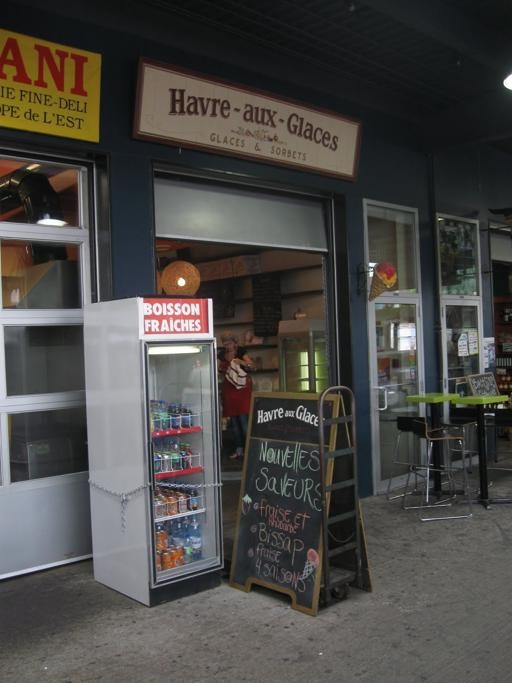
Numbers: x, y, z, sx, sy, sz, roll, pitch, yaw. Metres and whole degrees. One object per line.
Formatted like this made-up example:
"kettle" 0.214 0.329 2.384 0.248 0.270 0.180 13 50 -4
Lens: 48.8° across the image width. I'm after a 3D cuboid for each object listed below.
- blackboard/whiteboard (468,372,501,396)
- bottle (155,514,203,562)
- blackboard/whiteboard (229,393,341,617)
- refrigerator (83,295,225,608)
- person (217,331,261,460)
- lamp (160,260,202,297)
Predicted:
"blackboard/whiteboard" 2.559 0.479 6.371 0.041 0.324 0.490 -31 -19 36
"bottle" -0.484 1.205 3.442 0.200 0.329 0.355 -13 -11 42
"blackboard/whiteboard" 0.142 0.901 3.352 0.223 1.176 0.746 3 -7 -42
"refrigerator" -0.662 0.643 3.599 0.649 1.779 0.788 3 -7 -41
"person" -0.227 0.685 7.292 0.390 1.557 0.461 3 3 -37
"lamp" -0.645 -0.528 4.714 0.320 0.307 0.298 -1 -5 -10
